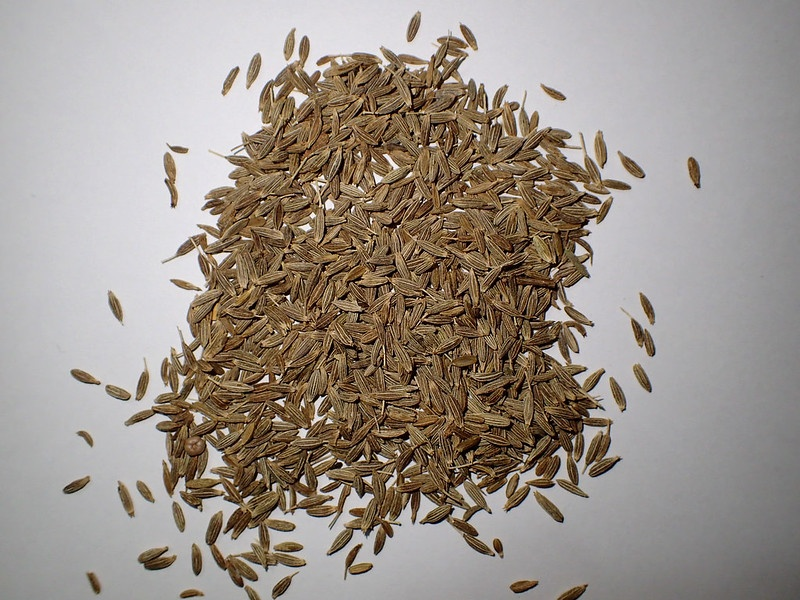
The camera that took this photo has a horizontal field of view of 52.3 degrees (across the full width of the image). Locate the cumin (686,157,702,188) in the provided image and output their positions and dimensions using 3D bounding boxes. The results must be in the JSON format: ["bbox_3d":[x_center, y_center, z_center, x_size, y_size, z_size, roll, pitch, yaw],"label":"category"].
[{"bbox_3d":[1.009,-0.443,2.794,0.034,0.030,0.121,-6,-88,-2],"label":"cumin"}]
